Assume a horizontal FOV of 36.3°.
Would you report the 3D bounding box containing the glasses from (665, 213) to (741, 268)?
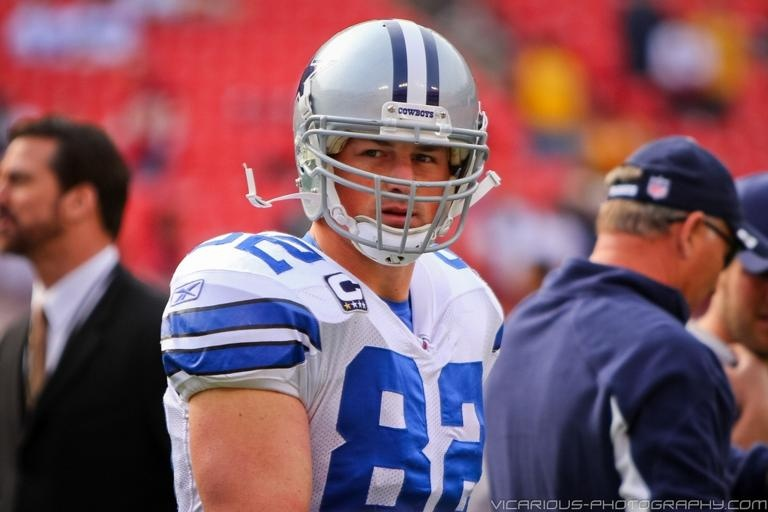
[{"bbox_3d":[1.269,-0.053,4.566,0.212,0.210,0.115,17,12,41],"label":"glasses"}]
